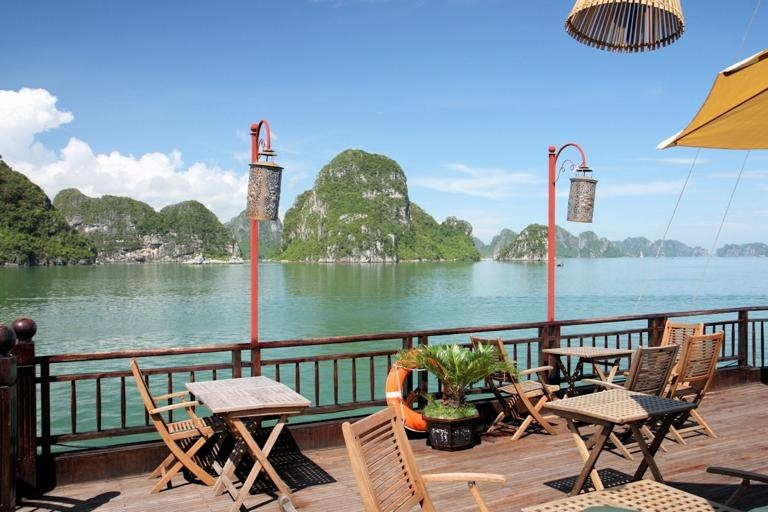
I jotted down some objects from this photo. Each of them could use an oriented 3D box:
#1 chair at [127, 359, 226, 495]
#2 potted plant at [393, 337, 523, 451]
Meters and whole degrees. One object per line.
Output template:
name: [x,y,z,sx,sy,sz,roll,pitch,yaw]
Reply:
chair: [-1.932,1.598,5.337,0.940,1.142,0.866,-4,-7,-6]
potted plant: [0.717,1.471,6.242,1.220,0.889,1.195,0,-1,3]
